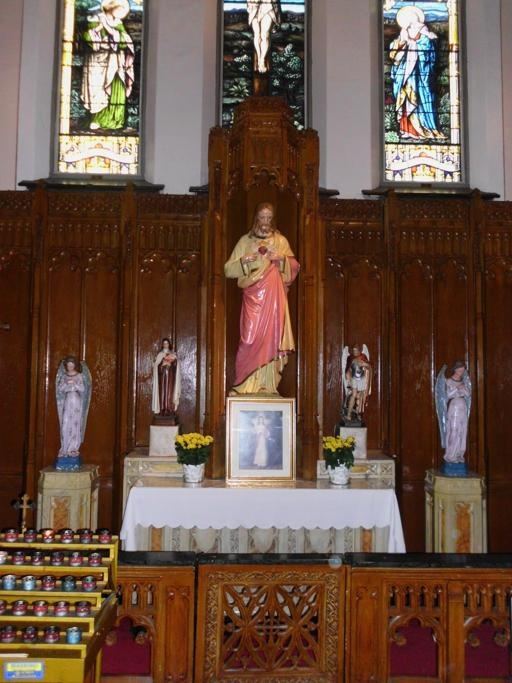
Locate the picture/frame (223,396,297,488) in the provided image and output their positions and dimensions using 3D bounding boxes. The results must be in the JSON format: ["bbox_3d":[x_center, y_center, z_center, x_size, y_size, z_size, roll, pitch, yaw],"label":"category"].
[{"bbox_3d":[0.035,0.888,7.980,0.658,0.884,0.055,1,-16,-7],"label":"picture/frame"}]

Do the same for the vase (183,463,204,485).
[{"bbox_3d":[-0.529,1.125,7.755,0.138,0.129,0.165,0,-11,0],"label":"vase"}]

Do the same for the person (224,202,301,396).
[{"bbox_3d":[0.072,-0.381,8.398,0.640,1.354,0.414,-1,-1,-25],"label":"person"}]

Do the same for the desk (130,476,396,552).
[{"bbox_3d":[0.044,1.462,7.448,2.203,0.463,0.678,-1,0,-4],"label":"desk"}]

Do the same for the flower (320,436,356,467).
[{"bbox_3d":[0.714,0.936,7.871,0.243,0.272,0.181,-2,-3,5],"label":"flower"}]

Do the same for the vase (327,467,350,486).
[{"bbox_3d":[0.698,1.152,7.784,0.153,0.130,0.149,-6,-11,27],"label":"vase"}]

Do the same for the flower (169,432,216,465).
[{"bbox_3d":[-0.527,0.916,7.911,0.257,0.204,0.273,0,-11,6],"label":"flower"}]

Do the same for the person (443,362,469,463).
[{"bbox_3d":[1.951,0.710,8.938,0.250,0.860,0.175,-1,-1,12],"label":"person"}]
